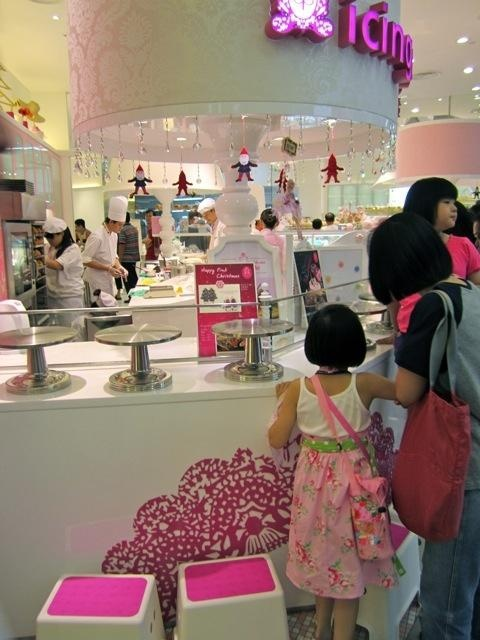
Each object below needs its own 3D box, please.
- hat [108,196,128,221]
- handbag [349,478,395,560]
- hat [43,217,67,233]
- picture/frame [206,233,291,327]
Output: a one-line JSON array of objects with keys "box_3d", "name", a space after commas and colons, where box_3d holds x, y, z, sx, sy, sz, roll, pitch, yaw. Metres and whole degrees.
[{"box_3d": [-1.435, -1.279, 4.982, 0.212, 0.308, 0.337, 7, 15, -2], "name": "hat"}, {"box_3d": [0.323, 0.495, 1.072, 0.121, 0.213, 0.069, 0, 6, 3], "name": "handbag"}, {"box_3d": [-1.947, -0.998, 4.599, 0.218, 0.186, 0.199, -7, 6, -15], "name": "hat"}, {"box_3d": [0.028, -0.147, 1.656, 0.337, 0.427, 0.145, -4, 4, -6], "name": "picture/frame"}]
